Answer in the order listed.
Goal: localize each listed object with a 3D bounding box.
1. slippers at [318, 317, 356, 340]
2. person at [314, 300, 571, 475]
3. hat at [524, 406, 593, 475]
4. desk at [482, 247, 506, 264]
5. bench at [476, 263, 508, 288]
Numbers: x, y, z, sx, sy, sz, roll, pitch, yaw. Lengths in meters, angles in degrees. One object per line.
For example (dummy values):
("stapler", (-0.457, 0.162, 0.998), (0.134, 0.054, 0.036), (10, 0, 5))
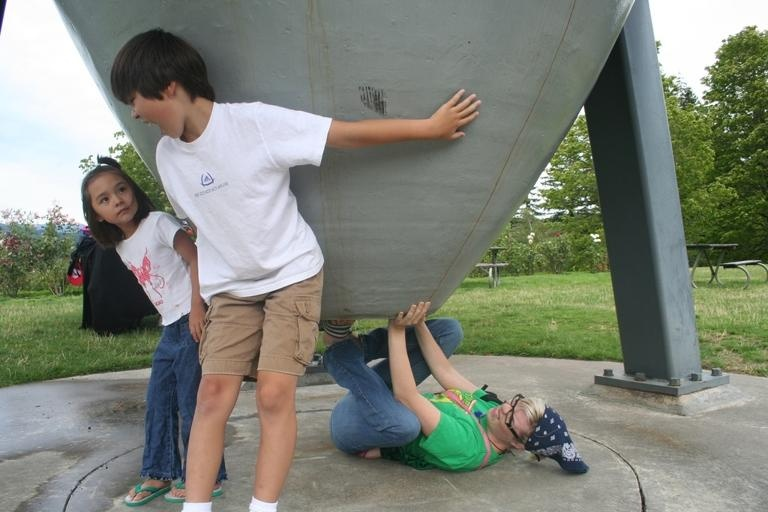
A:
("slippers", (-0.245, 0.356, 2.612), (0.169, 0.175, 0.130), (0, -7, 39))
("person", (0.263, 0.710, 2.789), (1.397, 0.927, 0.716), (1, -24, 19))
("hat", (0.845, 0.902, 2.488), (0.297, 0.337, 0.097), (-1, -3, -12))
("desk", (3.066, -0.022, 13.818), (0.458, 0.469, 3.081), (-3, -3, 13))
("bench", (2.727, 0.455, 12.738), (0.563, 0.614, 2.208), (-2, -3, 13))
